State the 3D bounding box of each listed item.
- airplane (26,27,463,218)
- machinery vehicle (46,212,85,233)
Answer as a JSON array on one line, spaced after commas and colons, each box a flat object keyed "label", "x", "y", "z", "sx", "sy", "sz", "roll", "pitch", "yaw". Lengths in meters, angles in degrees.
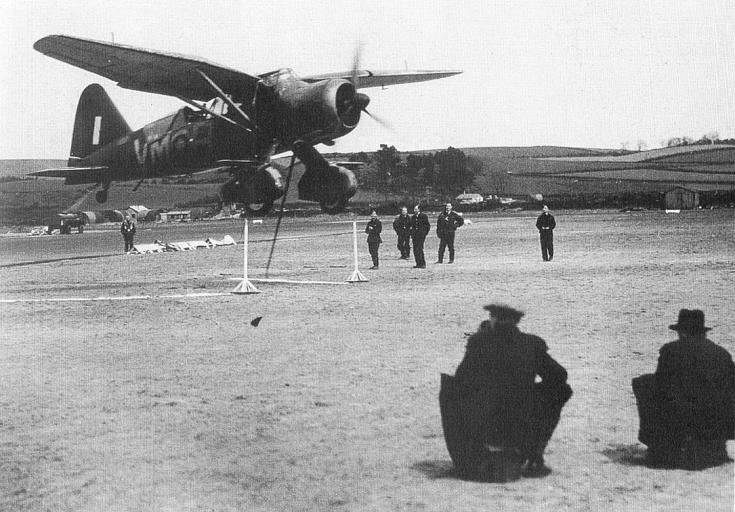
[{"label": "airplane", "x": -3.283, "y": -2.919, "z": 20.491, "sx": 6.950, "sy": 3.936, "sz": 3.304, "roll": 0, "pitch": 13, "yaw": 3}, {"label": "machinery vehicle", "x": -15.225, "y": -1.675, "z": 46.418, "sx": 1.417, "sy": 0.775, "sz": 1.013, "roll": 0, "pitch": 1, "yaw": 32}]
